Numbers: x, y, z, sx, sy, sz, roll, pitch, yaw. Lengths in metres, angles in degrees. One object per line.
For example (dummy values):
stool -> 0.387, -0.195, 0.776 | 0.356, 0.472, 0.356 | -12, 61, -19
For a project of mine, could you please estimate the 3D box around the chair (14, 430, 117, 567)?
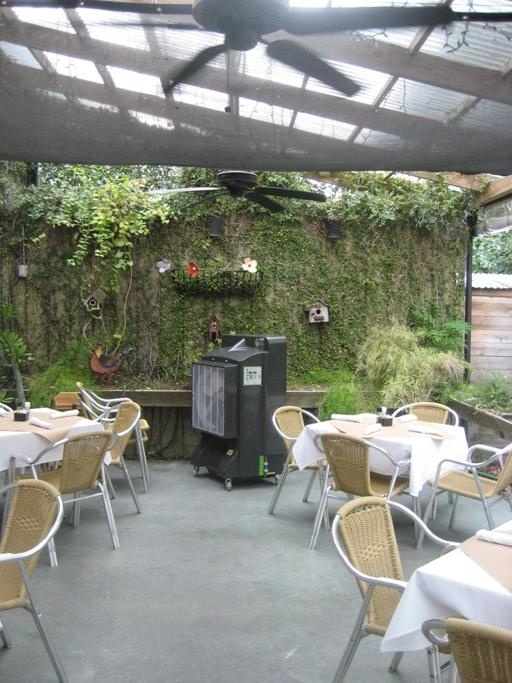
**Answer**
chair -> -1.072, 0.828, 3.254 | 0.382, 0.467, 0.335 | -14, -2, 31

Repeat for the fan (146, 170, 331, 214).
fan -> -0.151, -1.581, 5.920 | 1.207, 0.203, 1.221 | 1, 1, 41

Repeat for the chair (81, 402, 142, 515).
chair -> -1.227, 0.891, 4.413 | 0.517, 0.777, 0.498 | -2, 15, -34
